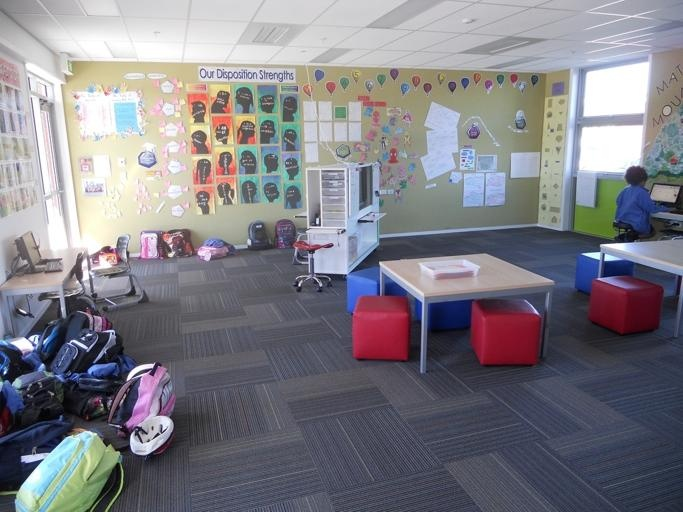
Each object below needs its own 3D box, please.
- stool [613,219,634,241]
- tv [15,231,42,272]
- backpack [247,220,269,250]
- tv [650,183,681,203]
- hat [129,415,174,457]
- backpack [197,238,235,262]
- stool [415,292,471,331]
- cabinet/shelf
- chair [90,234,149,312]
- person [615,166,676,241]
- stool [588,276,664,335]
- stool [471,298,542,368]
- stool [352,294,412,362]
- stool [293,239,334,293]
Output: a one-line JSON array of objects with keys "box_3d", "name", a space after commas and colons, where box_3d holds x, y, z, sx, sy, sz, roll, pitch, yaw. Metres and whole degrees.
[{"box_3d": [4.780, -0.449, 7.403, 0.373, 0.473, 0.388, 3, 8, 31], "name": "stool"}, {"box_3d": [-3.577, -0.033, 4.938, 0.133, 0.366, 0.370, -10, 25, -21], "name": "tv"}, {"box_3d": [-1.710, -0.410, 8.795, 0.443, 0.542, 0.272, -5, 14, -9], "name": "backpack"}, {"box_3d": [5.750, -1.102, 7.699, 0.193, 0.296, 0.423, -5, 13, -12], "name": "tv"}, {"box_3d": [-1.398, 1.318, 3.211, 0.227, 0.138, 0.304, 5, 21, 8], "name": "hat"}, {"box_3d": [-2.403, -0.121, 8.275, 0.387, 0.268, 0.618, 2, 8, 27], "name": "backpack"}, {"box_3d": [1.213, 0.632, 5.051, 0.472, 0.403, 0.471, 2, 7, 11], "name": "stool"}, {"box_3d": [-0.044, -0.613, 7.332, 0.709, 1.430, 1.976, 0, 15, 6], "name": "cabinet/shelf"}, {"box_3d": [-3.373, 0.152, 6.368, 0.720, 0.857, 1.621, -11, 16, -30], "name": "chair"}, {"box_3d": [4.935, -0.838, 7.185, 0.683, 1.232, 0.410, 3, 15, 22], "name": "person"}, {"box_3d": [3.209, 0.480, 5.055, 0.635, 0.646, 0.655, -10, 6, -10], "name": "stool"}, {"box_3d": [1.604, 0.743, 4.433, 0.621, 0.522, 0.614, -1, 8, -5], "name": "stool"}, {"box_3d": [0.414, 0.696, 4.506, 0.592, 0.498, 0.583, 0, 12, 6], "name": "stool"}, {"box_3d": [-0.483, 0.131, 6.649, 0.724, 0.754, 0.709, -5, 12, -24], "name": "stool"}]
